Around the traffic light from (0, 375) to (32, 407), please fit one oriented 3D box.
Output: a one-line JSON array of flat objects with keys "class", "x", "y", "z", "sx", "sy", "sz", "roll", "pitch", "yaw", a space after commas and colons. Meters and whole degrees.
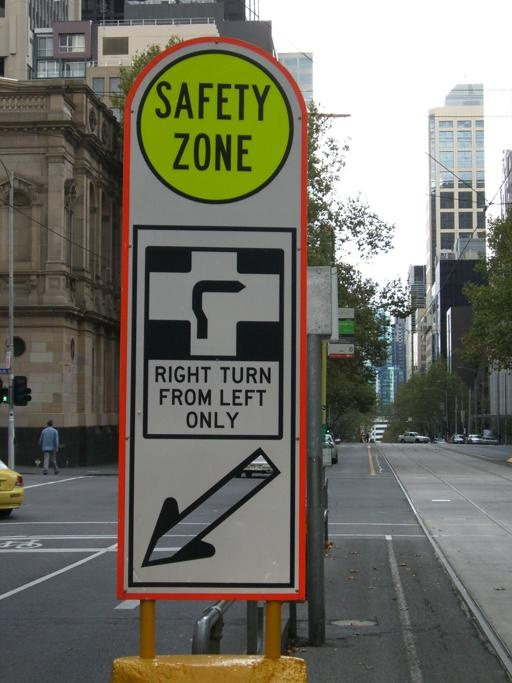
[{"class": "traffic light", "x": -5.752, "y": 1.205, "z": 31.849, "sx": 0.578, "sy": 1.030, "sz": 0.894, "roll": 0, "pitch": -1, "yaw": 4}]
